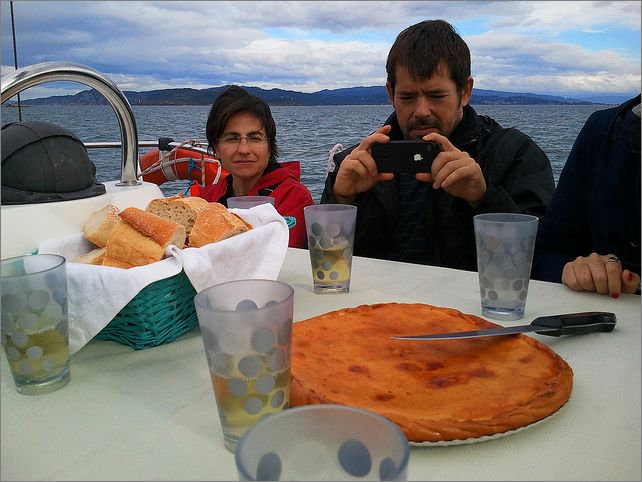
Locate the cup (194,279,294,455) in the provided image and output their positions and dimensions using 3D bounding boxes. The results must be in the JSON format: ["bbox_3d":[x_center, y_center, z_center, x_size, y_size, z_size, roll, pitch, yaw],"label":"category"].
[{"bbox_3d":[-0.111,0.169,0.709,0.156,0.259,0.149,1,14,0],"label":"cup"}]

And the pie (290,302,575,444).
[{"bbox_3d":[0.181,0.186,0.861,0.454,0.133,0.368,-2,9,-7],"label":"pie"}]

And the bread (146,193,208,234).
[{"bbox_3d":[-0.413,-0.100,1.256,0.148,0.055,0.133,-3,12,-33],"label":"bread"}]

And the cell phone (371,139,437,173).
[{"bbox_3d":[0.319,-0.319,1.692,0.257,0.118,0.109,1,15,6],"label":"cell phone"}]

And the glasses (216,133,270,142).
[{"bbox_3d":[-0.467,-0.597,2.593,0.273,0.054,0.066,-4,15,-11],"label":"glasses"}]

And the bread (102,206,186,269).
[{"bbox_3d":[-0.426,-0.007,1.058,0.156,0.101,0.158,24,31,12],"label":"bread"}]

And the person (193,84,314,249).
[{"bbox_3d":[-0.325,-0.350,2.745,0.575,1.050,0.610,19,18,34],"label":"person"}]

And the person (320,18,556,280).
[{"bbox_3d":[0.534,-0.355,2.209,1.033,1.442,0.949,6,14,9],"label":"person"}]

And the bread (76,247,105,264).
[{"bbox_3d":[-0.585,0.039,1.119,0.059,0.015,0.062,6,15,32],"label":"bread"}]

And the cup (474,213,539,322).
[{"bbox_3d":[0.433,0.057,1.110,0.163,0.256,0.156,1,14,0],"label":"cup"}]

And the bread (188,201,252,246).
[{"bbox_3d":[-0.267,-0.031,1.131,0.122,0.042,0.125,28,60,30],"label":"bread"}]

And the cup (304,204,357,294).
[{"bbox_3d":[0.028,0.016,1.287,0.154,0.253,0.136,2,13,2],"label":"cup"}]
